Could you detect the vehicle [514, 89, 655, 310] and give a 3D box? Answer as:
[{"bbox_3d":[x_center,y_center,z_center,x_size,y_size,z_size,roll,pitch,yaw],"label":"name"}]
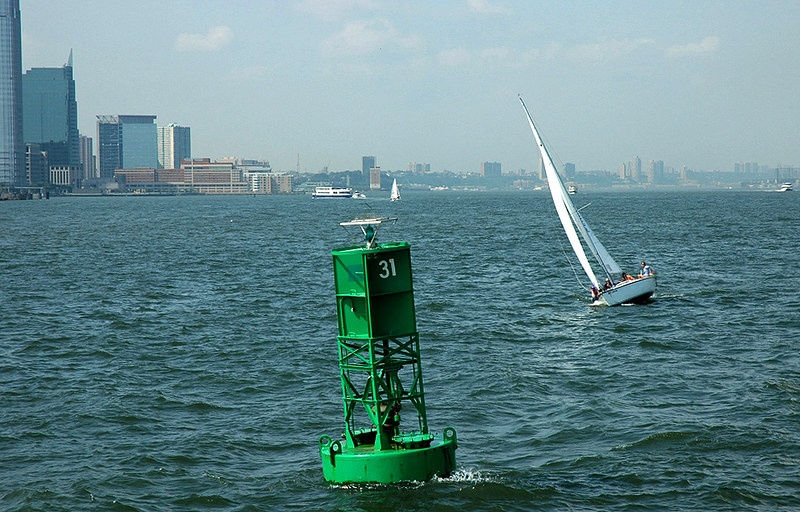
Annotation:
[{"bbox_3d":[20.420,-4.235,131.402,8.475,19.234,3.970,-14,-5,-25],"label":"vehicle"}]
